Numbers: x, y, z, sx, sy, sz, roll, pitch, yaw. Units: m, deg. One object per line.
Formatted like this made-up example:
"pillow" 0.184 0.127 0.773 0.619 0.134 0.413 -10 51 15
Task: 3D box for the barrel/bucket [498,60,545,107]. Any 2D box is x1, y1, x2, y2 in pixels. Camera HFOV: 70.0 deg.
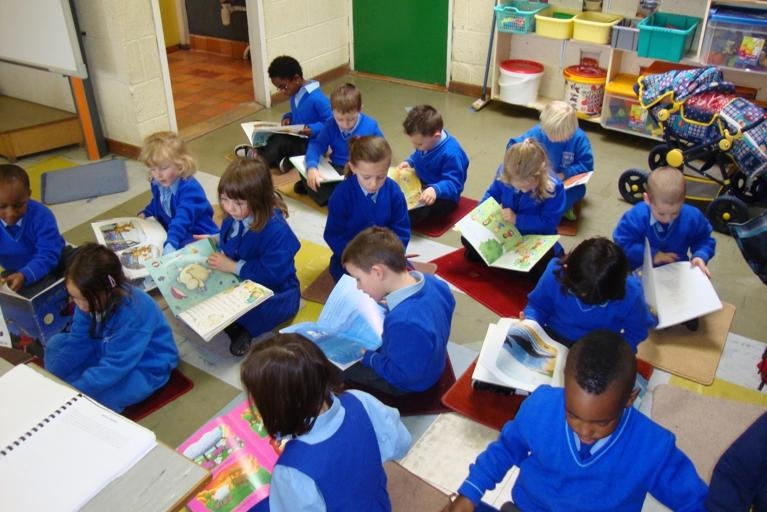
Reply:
"barrel/bucket" 1.352 -1.685 5.349 0.441 0.357 0.453 0 34 0

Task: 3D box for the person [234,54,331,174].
"person" -0.852 -1.236 4.691 0.818 0.925 0.565 1 23 -13

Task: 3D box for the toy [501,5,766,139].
"toy" 2.107 -1.511 4.470 1.588 0.801 0.368 25 50 20

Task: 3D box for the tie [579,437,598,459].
"tie" 0.751 0.705 2.017 0.058 0.066 0.058 -8 21 -3

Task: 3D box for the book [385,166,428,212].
"book" 0.190 -0.504 3.981 0.235 0.096 0.314 -19 38 -16

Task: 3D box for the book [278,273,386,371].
"book" -0.256 0.332 2.912 0.477 0.195 0.487 28 50 26

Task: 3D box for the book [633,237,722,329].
"book" 1.660 0.160 3.094 0.325 0.364 0.310 -14 49 11

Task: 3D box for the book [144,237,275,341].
"book" -1.015 0.161 3.123 0.534 0.198 0.593 50 38 -2

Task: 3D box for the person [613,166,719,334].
"person" 1.718 0.015 3.314 0.596 1.033 0.550 -6 22 13

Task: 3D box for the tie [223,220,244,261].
"tie" -0.875 -0.091 3.183 0.076 0.220 0.154 9 19 -9

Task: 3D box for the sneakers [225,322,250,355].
"sneakers" -0.830 0.477 3.168 0.168 0.119 0.061 61 23 13

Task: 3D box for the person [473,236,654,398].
"person" 1.025 0.327 2.818 0.745 0.909 0.646 -5 42 8

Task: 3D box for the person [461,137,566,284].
"person" 0.896 -0.283 3.544 0.639 0.782 0.510 9 24 33

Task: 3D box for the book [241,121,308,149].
"book" -0.893 -0.999 4.450 0.324 0.098 0.320 -3 20 -31

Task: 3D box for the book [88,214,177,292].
"book" -1.577 -0.078 3.517 0.449 0.166 0.692 -16 49 -31

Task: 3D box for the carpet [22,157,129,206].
"carpet" -2.493 -0.610 4.492 0.592 0.122 0.586 -14 43 -24

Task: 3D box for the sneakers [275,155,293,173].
"sneakers" -0.842 -0.768 4.666 0.095 0.226 0.077 -5 57 -8

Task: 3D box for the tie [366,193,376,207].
"tie" -0.062 -0.344 3.372 0.052 0.070 0.020 -3 10 -20

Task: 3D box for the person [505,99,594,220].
"person" 1.255 -0.731 4.040 0.619 0.855 0.594 -4 50 13

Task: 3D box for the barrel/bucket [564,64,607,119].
"barrel/bucket" 1.888 -1.507 5.103 0.380 0.374 0.369 -1 26 0

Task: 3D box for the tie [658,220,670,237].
"tie" 1.665 -0.159 3.237 0.062 0.079 0.061 1 1 4

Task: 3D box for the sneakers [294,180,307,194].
"sneakers" -0.664 -0.541 4.400 0.108 0.108 0.113 13 -7 -3
